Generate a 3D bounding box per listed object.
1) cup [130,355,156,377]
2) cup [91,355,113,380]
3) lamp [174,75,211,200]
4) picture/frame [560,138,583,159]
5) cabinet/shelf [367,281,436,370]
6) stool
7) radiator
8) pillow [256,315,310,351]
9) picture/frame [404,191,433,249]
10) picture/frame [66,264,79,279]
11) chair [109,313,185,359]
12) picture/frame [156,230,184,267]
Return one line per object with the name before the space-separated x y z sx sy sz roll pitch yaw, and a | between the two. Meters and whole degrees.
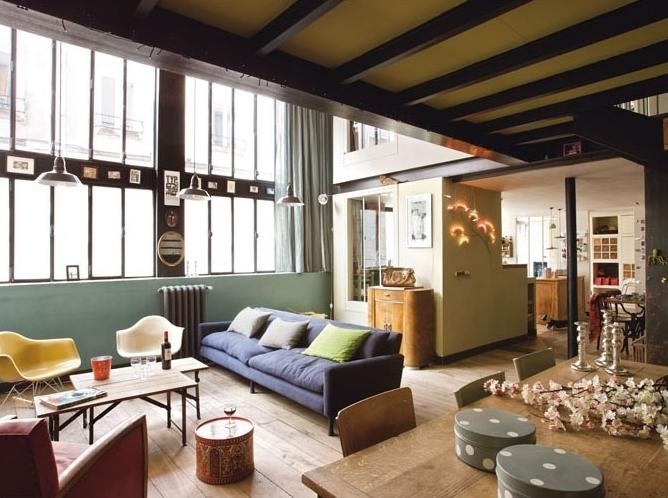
cup | -1.901 1.157 4.899 0.198 0.164 0.218 1 -5 0
cup | -2.283 1.180 4.868 0.203 0.214 0.202 -2 -9 0
lamp | -1.623 -1.344 5.808 0.399 1.530 0.392 17 22 21
picture/frame | 2.847 -1.206 5.872 0.090 0.239 0.249 3 -5 -32
cabinet/shelf | 0.932 1.015 6.440 0.574 1.108 1.113 1 -3 -29
stool | -0.908 1.682 4.172 0.527 0.391 0.541 0 0 4
radiator | -2.080 1.012 6.943 0.779 0.956 0.187 -5 8 -34
pillow | -0.602 1.048 6.031 0.488 0.355 0.152 1 -37 46
picture/frame | 1.277 -0.416 7.266 0.124 0.782 0.527 -5 9 -32
picture/frame | -3.432 0.309 6.451 0.161 0.217 0.156 -7 -7 42
chair | -2.326 1.098 6.106 0.751 0.786 0.586 0 -17 -21
picture/frame | -2.389 -0.011 7.105 0.051 0.476 0.402 1 -16 43
